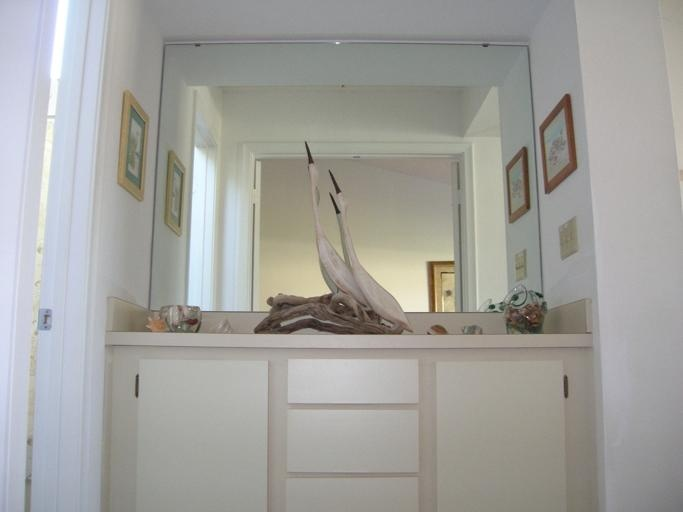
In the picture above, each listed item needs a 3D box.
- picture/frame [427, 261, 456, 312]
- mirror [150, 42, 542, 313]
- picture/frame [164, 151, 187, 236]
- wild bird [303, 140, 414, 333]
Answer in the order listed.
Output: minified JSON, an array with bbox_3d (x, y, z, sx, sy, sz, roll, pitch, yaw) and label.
[{"bbox_3d":[0.460,0.162,2.320,0.125,0.270,0.020,0,-14,13],"label":"picture/frame"},{"bbox_3d":[-0.017,-0.308,2.343,1.787,1.484,0.025,2,-16,4],"label":"mirror"},{"bbox_3d":[-0.739,-0.281,2.338,0.076,0.376,0.025,-1,-8,3],"label":"picture/frame"},{"bbox_3d":[0.054,-0.121,2.222,0.403,0.882,0.366,0,-8,-5],"label":"wild bird"}]
